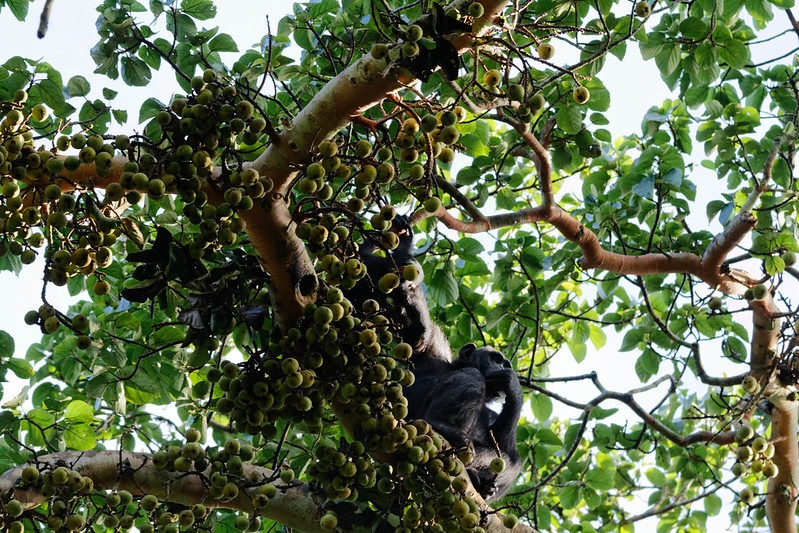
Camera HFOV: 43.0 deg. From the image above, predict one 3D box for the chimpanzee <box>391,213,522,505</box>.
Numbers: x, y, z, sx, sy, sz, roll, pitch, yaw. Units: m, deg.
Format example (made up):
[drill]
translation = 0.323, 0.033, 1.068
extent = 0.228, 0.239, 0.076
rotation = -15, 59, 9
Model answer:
[chimpanzee]
translation = 0.357, 0.606, 6.565
extent = 0.719, 1.776, 1.122
rotation = -18, -59, 2
